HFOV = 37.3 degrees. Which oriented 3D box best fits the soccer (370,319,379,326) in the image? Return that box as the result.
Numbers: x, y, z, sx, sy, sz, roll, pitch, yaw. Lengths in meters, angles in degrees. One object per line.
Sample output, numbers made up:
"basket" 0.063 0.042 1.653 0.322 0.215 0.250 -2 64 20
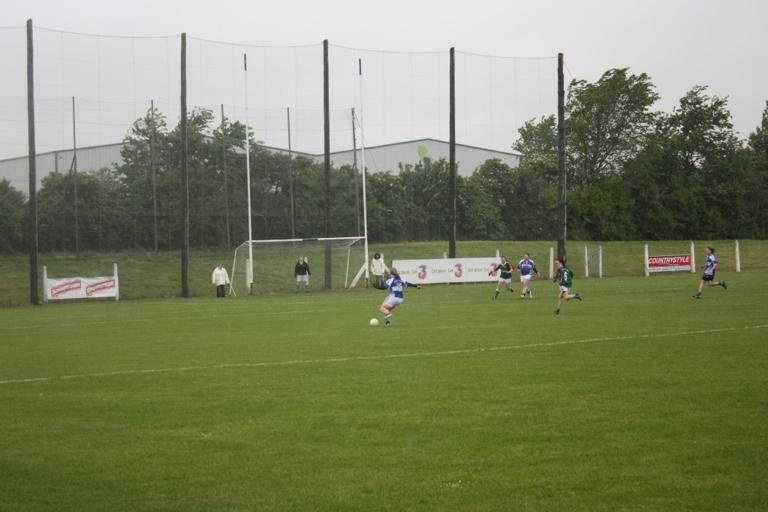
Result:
"soccer" -0.588 3.203 54.115 0.310 0.244 0.316 26 34 11
